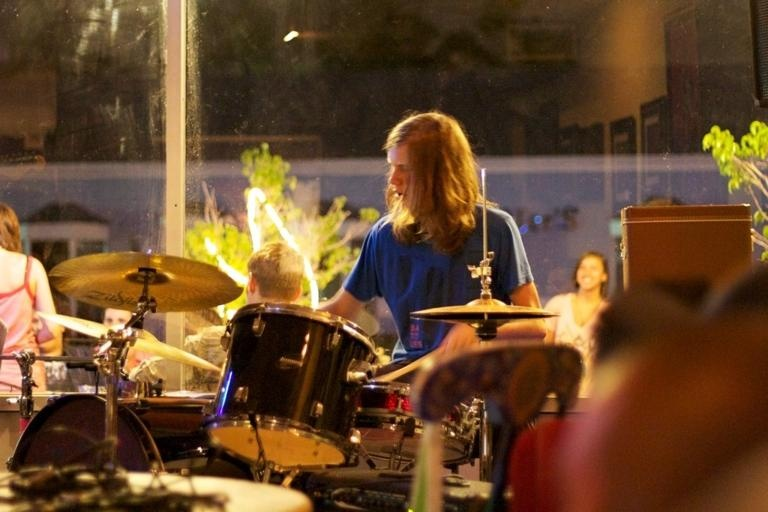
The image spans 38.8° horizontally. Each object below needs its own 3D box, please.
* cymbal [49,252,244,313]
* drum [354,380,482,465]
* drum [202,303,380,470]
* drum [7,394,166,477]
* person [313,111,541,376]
[{"bbox_3d":[-1.278,0.142,5.887,0.541,0.117,0.561,-18,-34,32],"label":"cymbal"},{"bbox_3d":[0.164,0.878,5.663,0.578,0.222,0.611,7,-20,3],"label":"drum"},{"bbox_3d":[-0.529,0.778,5.708,0.846,0.735,0.886,-11,-44,21],"label":"drum"},{"bbox_3d":[-1.596,0.926,5.760,0.904,0.414,0.232,-1,0,18],"label":"drum"},{"bbox_3d":[0.290,-0.092,6.303,0.875,1.398,1.102,17,-23,-35],"label":"person"}]
